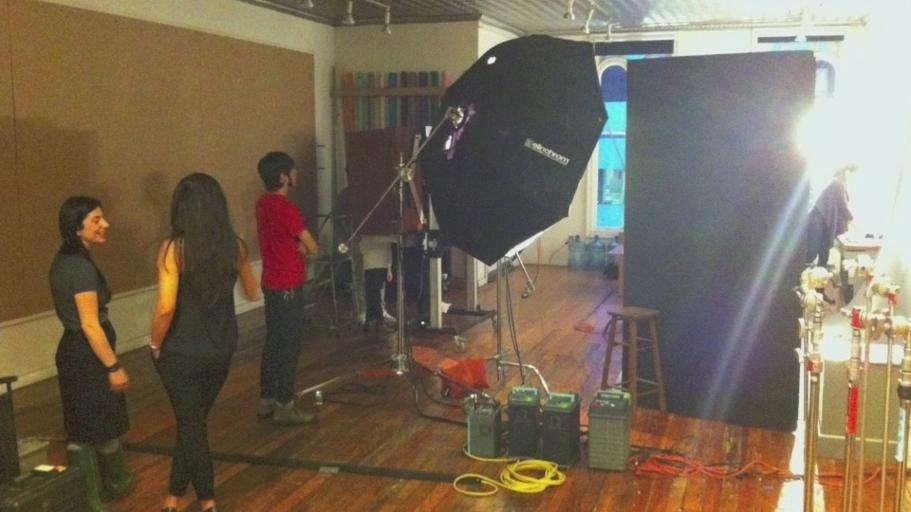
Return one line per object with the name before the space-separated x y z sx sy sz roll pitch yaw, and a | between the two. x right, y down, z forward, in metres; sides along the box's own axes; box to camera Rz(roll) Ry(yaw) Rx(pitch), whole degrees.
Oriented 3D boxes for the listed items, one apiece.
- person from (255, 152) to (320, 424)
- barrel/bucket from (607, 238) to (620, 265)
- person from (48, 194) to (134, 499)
person | -1.656 0.345 7.723 0.543 2.729 0.422 0 13 -14
barrel/bucket | 2.615 -0.095 12.843 0.199 0.473 1.199 5 13 11
person | -3.142 0.859 6.791 0.509 2.720 0.644 -7 16 -37
